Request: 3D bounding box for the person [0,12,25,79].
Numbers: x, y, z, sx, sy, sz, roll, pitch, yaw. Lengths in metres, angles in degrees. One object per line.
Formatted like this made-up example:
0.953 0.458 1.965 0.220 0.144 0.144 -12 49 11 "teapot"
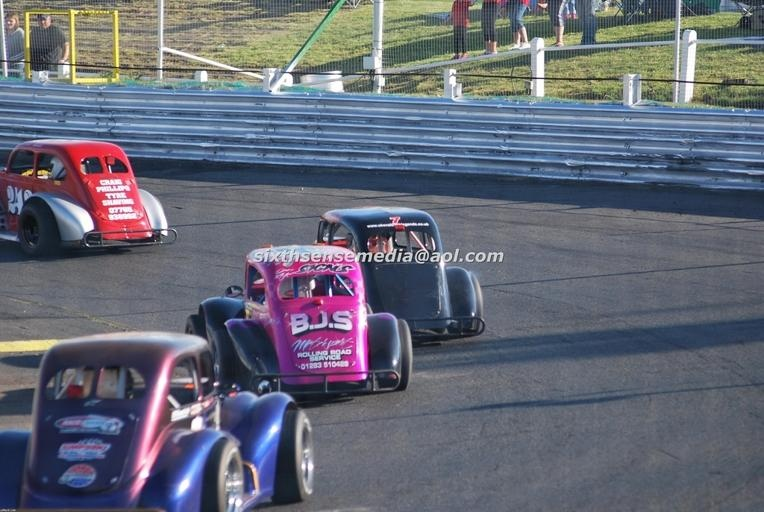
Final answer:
-9.015 -5.181 32.853 0.436 1.576 0.663 -4 8 -13 "person"
